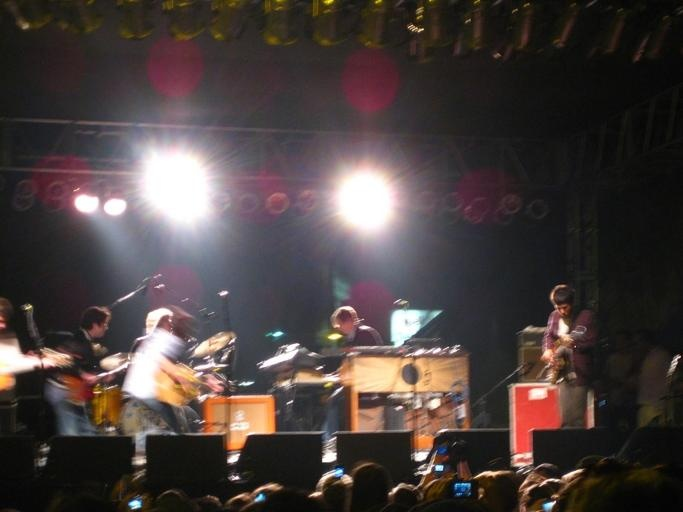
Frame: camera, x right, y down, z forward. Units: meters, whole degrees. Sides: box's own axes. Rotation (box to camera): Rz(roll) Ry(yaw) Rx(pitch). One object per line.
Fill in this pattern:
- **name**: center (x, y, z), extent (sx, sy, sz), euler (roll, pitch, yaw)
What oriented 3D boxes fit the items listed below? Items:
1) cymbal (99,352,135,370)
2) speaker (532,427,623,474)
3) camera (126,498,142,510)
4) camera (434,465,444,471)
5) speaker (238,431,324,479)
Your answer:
- **cymbal**: center (-2.828, 1.330, 11.499), extent (0.323, 0.079, 0.277), euler (-29, 22, -23)
- **speaker**: center (2.367, 1.964, 9.374), extent (0.895, 0.510, 0.459), euler (0, -11, -3)
- **camera**: center (-1.893, 2.299, 8.370), extent (0.090, 0.066, 0.103), euler (-8, -11, 36)
- **camera**: center (0.993, 2.142, 9.162), extent (0.097, 0.060, 0.051), euler (0, -11, 4)
- **speaker**: center (-0.623, 2.008, 9.114), extent (0.910, 0.520, 0.467), euler (0, -7, 2)
